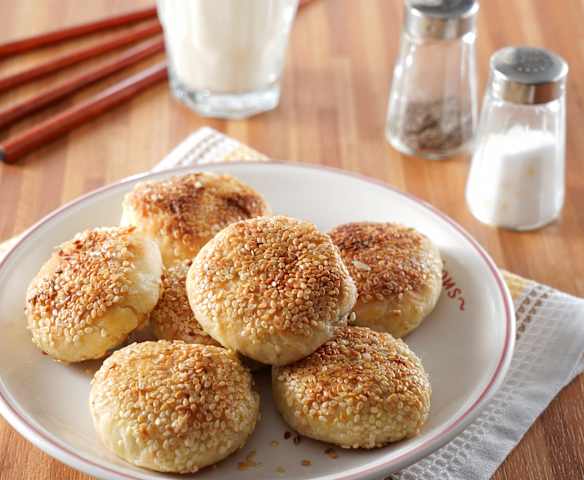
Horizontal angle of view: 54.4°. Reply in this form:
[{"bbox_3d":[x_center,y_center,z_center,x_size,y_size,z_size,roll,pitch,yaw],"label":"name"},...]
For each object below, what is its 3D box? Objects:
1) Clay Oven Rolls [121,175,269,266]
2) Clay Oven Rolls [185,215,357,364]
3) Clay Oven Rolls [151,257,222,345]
[{"bbox_3d":[-0.163,-0.048,0.918,0.194,0.068,0.156,-13,43,-16],"label":"Clay Oven Rolls"},{"bbox_3d":[-0.033,0.057,0.787,0.229,0.071,0.241,6,41,-5],"label":"Clay Oven Rolls"},{"bbox_3d":[-0.164,0.102,0.811,0.100,0.035,0.116,5,50,-1],"label":"Clay Oven Rolls"}]
